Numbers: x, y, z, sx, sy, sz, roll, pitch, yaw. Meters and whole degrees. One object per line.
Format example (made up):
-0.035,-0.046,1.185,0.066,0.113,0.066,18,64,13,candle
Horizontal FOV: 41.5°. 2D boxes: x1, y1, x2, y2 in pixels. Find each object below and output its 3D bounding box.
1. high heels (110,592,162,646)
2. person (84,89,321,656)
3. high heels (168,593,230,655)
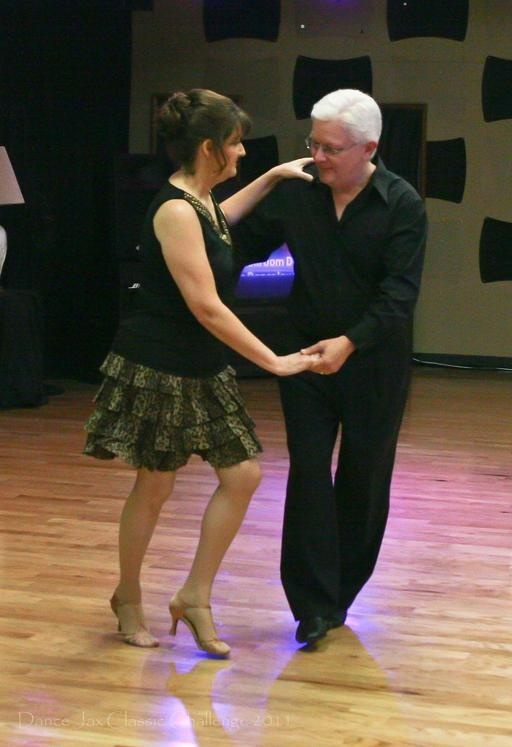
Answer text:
-0.316,0.639,1.805,0.071,0.108,0.223,-7,12,-43,high heels
-0.148,0.049,1.610,0.485,1.350,0.403,6,4,43,person
-0.135,0.609,1.640,0.189,0.101,0.058,12,-1,30,high heels
